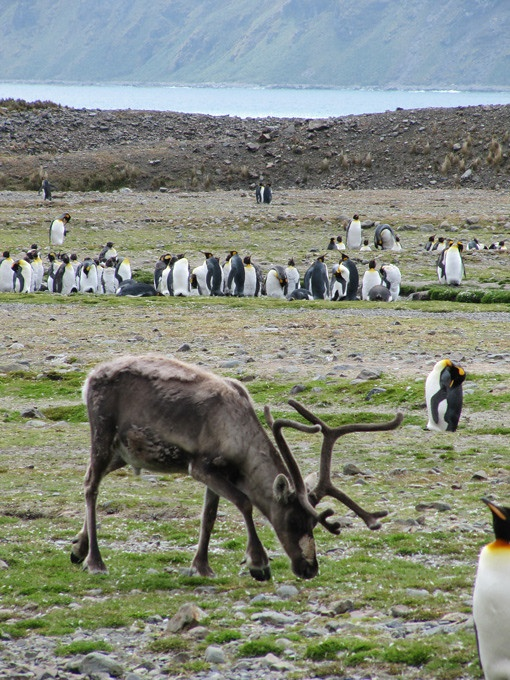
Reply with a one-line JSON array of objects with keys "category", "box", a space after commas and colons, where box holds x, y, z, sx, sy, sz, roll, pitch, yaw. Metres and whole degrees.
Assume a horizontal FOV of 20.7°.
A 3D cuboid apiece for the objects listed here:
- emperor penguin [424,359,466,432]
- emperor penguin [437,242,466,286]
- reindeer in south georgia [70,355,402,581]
[{"category": "emperor penguin", "box": [2.243, 0.651, 16.449, 0.451, 0.835, 0.441, -2, 3, 10]}, {"category": "emperor penguin", "box": [4.241, -1.635, 29.640, 0.572, 0.932, 0.608, 5, -8, -35]}, {"category": "reindeer in south georgia", "box": [-0.309, 1.166, 11.370, 2.783, 1.841, 1.252, 16, 11, 25]}]
